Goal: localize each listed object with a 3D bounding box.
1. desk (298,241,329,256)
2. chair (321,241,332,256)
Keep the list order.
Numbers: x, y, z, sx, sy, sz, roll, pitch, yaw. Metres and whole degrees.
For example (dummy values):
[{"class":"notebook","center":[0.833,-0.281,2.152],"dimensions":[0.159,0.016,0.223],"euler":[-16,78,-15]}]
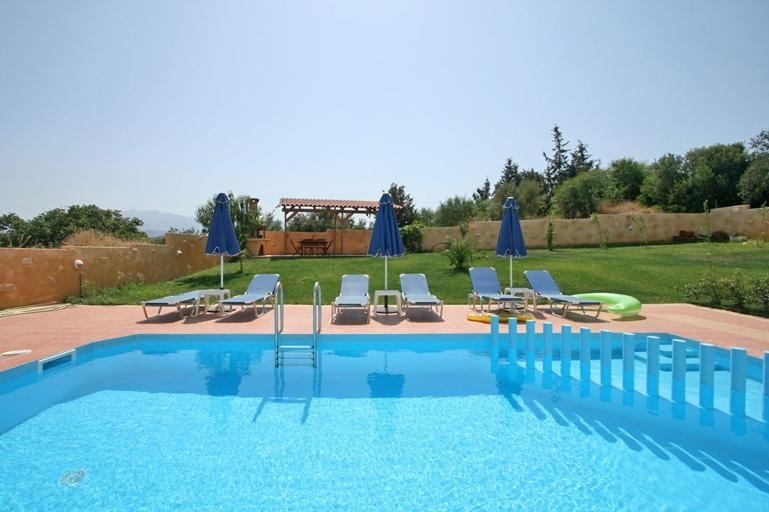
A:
[{"class":"desk","center":[-4.583,-0.602,33.249],"dimensions":[1.806,0.933,2.291],"euler":[-4,5,-30]},{"class":"chair","center":[-3.697,-0.509,33.590],"dimensions":[0.889,0.985,0.701],"euler":[-1,-2,-11]}]
